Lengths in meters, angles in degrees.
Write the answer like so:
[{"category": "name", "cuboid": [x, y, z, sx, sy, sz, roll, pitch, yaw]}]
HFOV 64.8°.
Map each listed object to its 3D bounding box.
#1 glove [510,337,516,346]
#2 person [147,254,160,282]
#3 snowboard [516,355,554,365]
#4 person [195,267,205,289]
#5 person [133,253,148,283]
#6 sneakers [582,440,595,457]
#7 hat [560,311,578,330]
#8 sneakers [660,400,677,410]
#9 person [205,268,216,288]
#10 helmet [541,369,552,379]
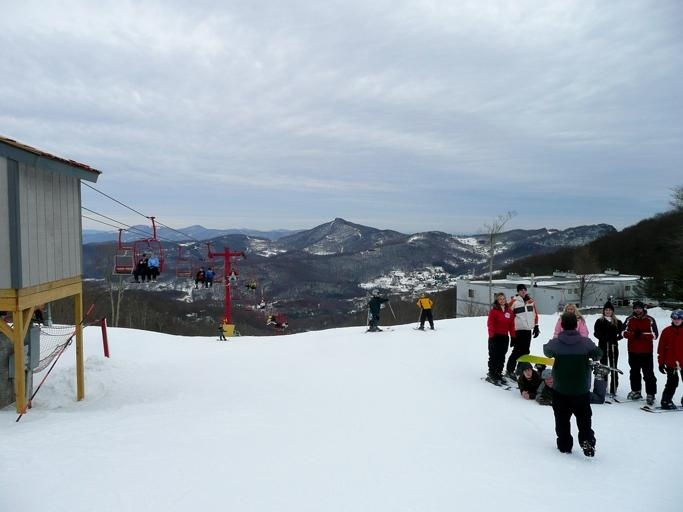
[{"category": "glove", "cuboid": [4.288, 2.154, 13.475, 0.067, 0.220, 0.153, 6, -9, 6]}, {"category": "person", "cuboid": [-8.117, 0.546, 23.126, 0.509, 1.130, 0.512, -2, 7, -22]}, {"category": "snowboard", "cuboid": [4.584, 2.469, 12.723, 0.503, 0.131, 0.523, 3, -18, 2]}, {"category": "person", "cuboid": [-7.757, 1.245, 29.384, 0.521, 1.216, 1.115, -2, 7, -16]}, {"category": "person", "cuboid": [-8.641, 0.544, 23.047, 0.585, 1.192, 0.683, -2, 7, -21]}, {"category": "sneakers", "cuboid": [4.473, 3.474, 9.686, 0.266, 0.280, 0.173, 0, 6, 0]}, {"category": "hat", "cuboid": [4.173, 1.147, 9.889, 0.297, 0.458, 0.297, -5, 24, 29]}, {"category": "sneakers", "cuboid": [7.061, 3.235, 11.625, 0.287, 0.206, 0.169, -7, -3, 12]}, {"category": "person", "cuboid": [-7.364, 1.234, 29.576, 0.377, 0.926, 0.715, 8, 2, 41]}, {"category": "helmet", "cuboid": [4.714, 2.717, 12.352, 0.205, 0.170, 0.314, -2, -19, 5]}]
